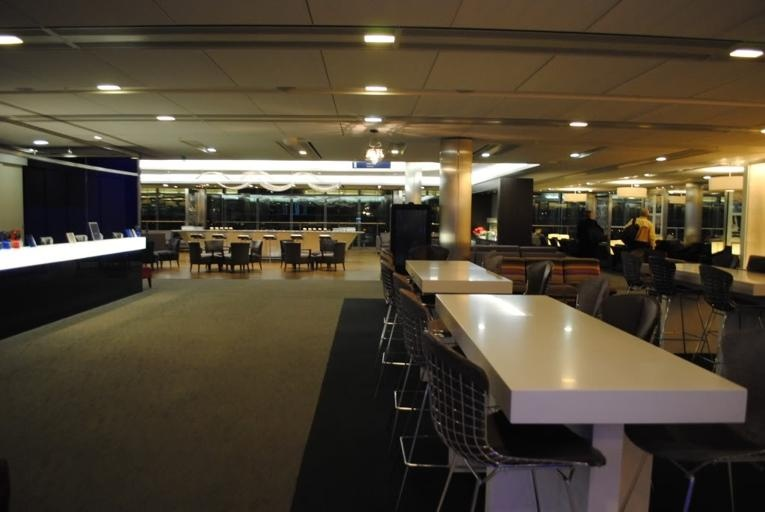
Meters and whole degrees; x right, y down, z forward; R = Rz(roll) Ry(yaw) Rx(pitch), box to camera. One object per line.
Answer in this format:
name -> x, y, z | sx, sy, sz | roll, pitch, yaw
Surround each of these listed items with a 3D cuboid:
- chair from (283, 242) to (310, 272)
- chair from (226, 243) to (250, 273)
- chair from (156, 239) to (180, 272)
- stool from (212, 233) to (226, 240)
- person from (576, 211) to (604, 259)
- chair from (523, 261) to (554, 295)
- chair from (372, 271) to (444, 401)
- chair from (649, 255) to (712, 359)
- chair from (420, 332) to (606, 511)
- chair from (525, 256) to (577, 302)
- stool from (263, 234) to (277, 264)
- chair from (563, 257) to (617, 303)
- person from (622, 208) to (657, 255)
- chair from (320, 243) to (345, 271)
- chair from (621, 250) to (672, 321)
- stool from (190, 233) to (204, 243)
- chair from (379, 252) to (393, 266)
chair -> -2.412, -0.001, 14.743 | 0.734, 0.783, 0.650 | -5, 7, -41
chair -> -3.825, 0.011, 14.424 | 0.648, 0.943, 0.787 | -1, 6, -15
chair -> -5.960, -0.067, 14.909 | 0.821, 0.987, 0.746 | 1, -1, -28
stool -> -5.521, -0.682, 18.058 | 0.409, 0.184, 0.431 | -2, 6, -17
person -> 5.032, -0.540, 13.014 | 0.542, 1.183, 0.848 | 1, 6, 20
chair -> 1.901, 0.267, 6.494 | 0.251, 0.442, 0.671 | 1, 6, 13
chair -> 0.288, 0.897, 5.795 | 0.490, 0.985, 1.388 | 0, 3, -3
chair -> 4.127, 0.651, 7.132 | 0.696, 1.417, 0.687 | -12, -2, 36
chair -> 1.008, 1.094, 4.726 | 1.318, 1.895, 1.423 | -1, 0, -3
chair -> 2.476, 0.351, 7.690 | 0.610, 0.902, 0.694 | 1, -6, 2
stool -> -3.732, -0.322, 18.008 | 0.557, 0.818, 1.011 | -2, 6, -13
chair -> 3.080, 0.349, 7.987 | 0.705, 0.499, 0.512 | 0, 1, 0
person -> 6.095, -0.586, 12.517 | 0.711, 0.982, 0.506 | 10, 10, 27
chair -> -1.371, 0.002, 15.230 | 0.735, 0.836, 0.787 | 2, 1, -5
chair -> 3.919, 0.457, 7.915 | 0.651, 0.858, 0.670 | 3, 5, -15
stool -> -6.405, -0.653, 18.505 | 0.484, 0.312, 0.909 | -3, 6, -22
chair -> 0.068, 0.021, 7.622 | 0.150, 0.195, 0.204 | 18, 0, 28
